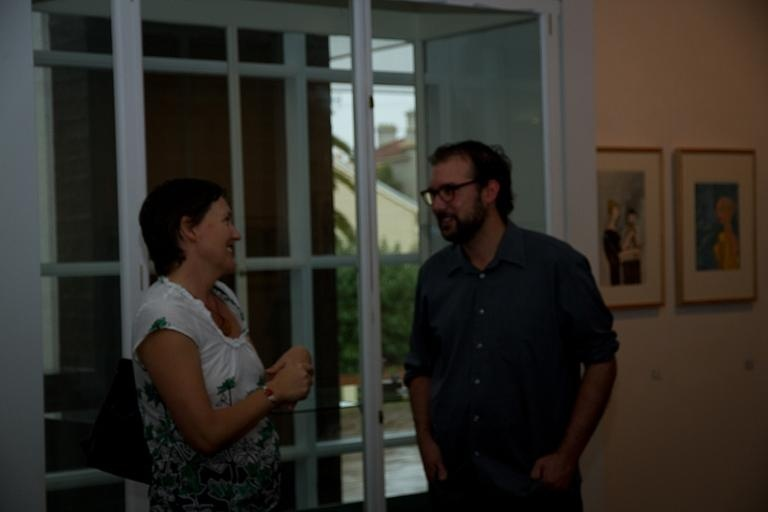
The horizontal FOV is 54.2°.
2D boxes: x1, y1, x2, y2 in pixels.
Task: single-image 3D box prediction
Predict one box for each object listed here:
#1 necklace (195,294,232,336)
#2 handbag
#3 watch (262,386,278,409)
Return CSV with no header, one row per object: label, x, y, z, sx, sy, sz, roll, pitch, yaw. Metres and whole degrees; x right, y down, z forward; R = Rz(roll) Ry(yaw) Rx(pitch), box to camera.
necklace,-0.605,0.224,2.729,0.033,0.151,0.085,-26,17,21
handbag,-0.918,0.627,2.806,0.333,0.415,0.119,14,0,14
watch,-0.390,0.482,2.585,0.039,0.068,0.063,-17,-6,-7
